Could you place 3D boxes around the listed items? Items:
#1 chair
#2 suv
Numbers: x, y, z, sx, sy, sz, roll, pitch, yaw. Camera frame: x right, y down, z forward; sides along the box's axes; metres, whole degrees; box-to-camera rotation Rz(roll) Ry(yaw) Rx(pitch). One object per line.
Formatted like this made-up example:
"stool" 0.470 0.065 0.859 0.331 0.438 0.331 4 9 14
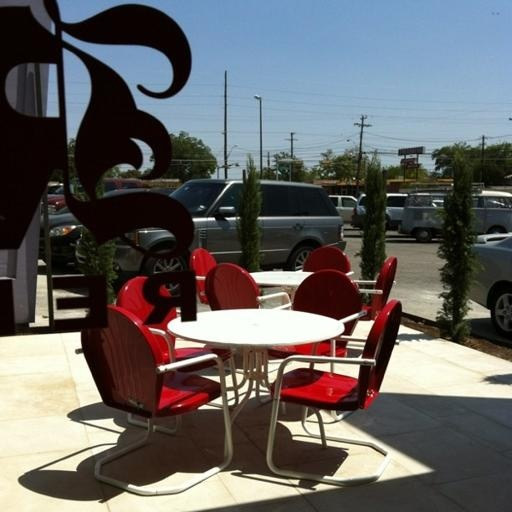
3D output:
"chair" -0.174 0.628 2.765 1.362 0.682 1.422 1 2 33
"suv" -0.353 -0.348 9.328 4.476 1.769 2.465 1 0 -28
